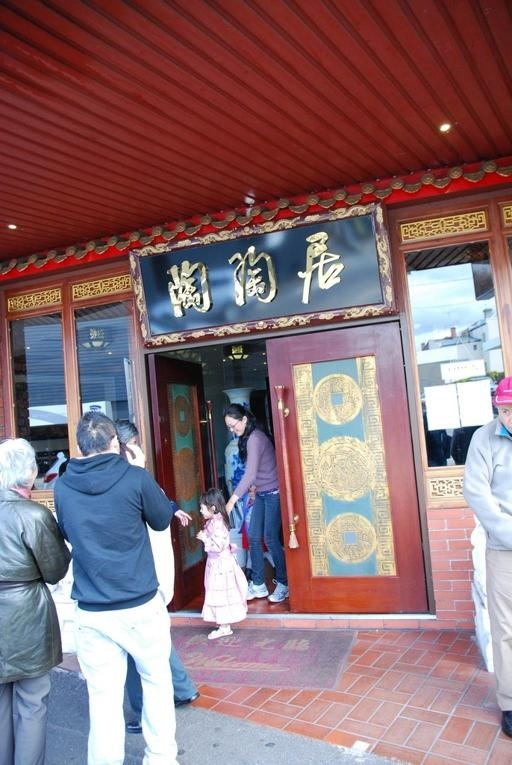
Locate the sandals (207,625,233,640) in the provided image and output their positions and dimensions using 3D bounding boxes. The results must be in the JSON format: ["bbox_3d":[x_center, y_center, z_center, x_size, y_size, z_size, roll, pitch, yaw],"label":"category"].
[{"bbox_3d":[-0.261,1.837,4.169,0.176,0.077,0.075,-1,-7,0],"label":"sandals"}]

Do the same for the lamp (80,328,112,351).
[{"bbox_3d":[-1.437,-0.370,5.101,0.290,0.177,0.064,-3,-2,22],"label":"lamp"}]

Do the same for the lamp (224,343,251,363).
[{"bbox_3d":[-0.216,-0.338,6.637,0.215,0.151,0.208,-2,-15,2],"label":"lamp"}]

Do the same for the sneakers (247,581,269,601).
[{"bbox_3d":[0.008,1.784,4.812,0.217,0.101,0.080,8,-17,-40],"label":"sneakers"}]

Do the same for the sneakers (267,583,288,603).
[{"bbox_3d":[0.188,1.743,4.717,0.086,0.094,0.212,-9,-3,26],"label":"sneakers"}]
